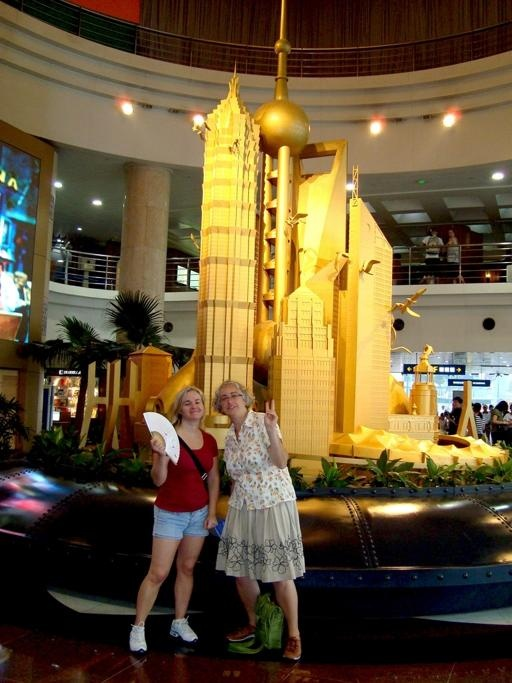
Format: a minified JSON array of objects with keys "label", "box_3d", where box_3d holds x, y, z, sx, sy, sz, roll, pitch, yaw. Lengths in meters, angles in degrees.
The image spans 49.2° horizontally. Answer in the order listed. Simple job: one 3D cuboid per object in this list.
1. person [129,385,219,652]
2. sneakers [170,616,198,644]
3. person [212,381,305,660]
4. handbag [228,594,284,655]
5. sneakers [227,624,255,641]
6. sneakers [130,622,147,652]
[{"label":"person","box_3d":[-0.315,0.775,2.494,0.219,0.874,0.403,2,-2,41]},{"label":"sneakers","box_3d":[-0.326,1.295,2.534,0.149,0.076,0.077,-5,-13,38]},{"label":"person","box_3d":[0.002,0.755,2.469,0.260,0.792,0.473,5,-2,-39]},{"label":"handbag","box_3d":[-0.002,1.233,2.481,0.231,0.210,0.181,6,7,-10]},{"label":"sneakers","box_3d":[-0.058,1.300,2.507,0.148,0.052,0.049,2,-9,-7]},{"label":"sneakers","box_3d":[-0.497,1.253,2.361,0.053,0.059,0.143,9,-19,-13]}]
